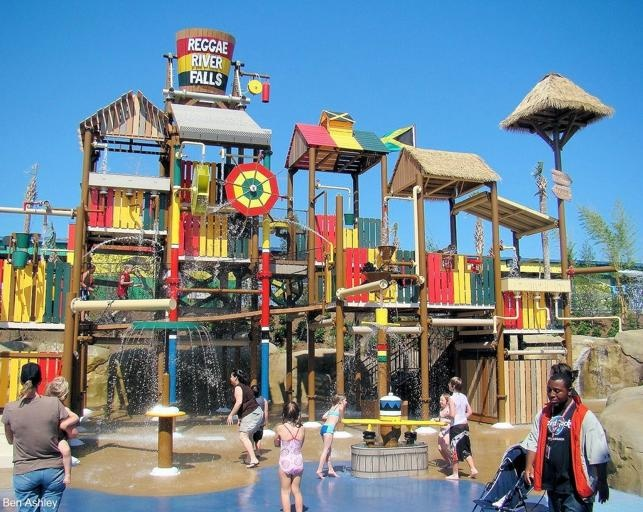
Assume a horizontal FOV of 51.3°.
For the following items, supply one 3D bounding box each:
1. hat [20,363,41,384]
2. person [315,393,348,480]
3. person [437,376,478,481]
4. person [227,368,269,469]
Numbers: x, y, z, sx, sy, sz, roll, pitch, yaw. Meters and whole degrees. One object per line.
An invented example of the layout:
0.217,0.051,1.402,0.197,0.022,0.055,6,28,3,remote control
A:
-3.234,1.294,7.500,0.185,0.273,0.248,1,3,-11,hat
0.163,3.132,11.716,0.505,1.344,1.325,0,-9,0,person
2.383,2.923,11.434,0.514,1.653,0.736,-2,-9,13,person
-1.389,2.956,12.248,0.670,1.704,1.462,1,-9,-8,person
